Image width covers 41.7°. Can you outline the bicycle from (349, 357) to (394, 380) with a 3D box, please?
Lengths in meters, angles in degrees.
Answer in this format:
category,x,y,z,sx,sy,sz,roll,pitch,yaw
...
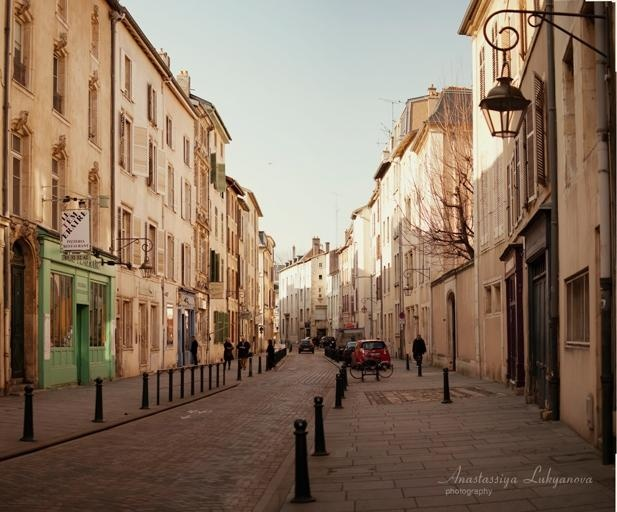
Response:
category,x,y,z,sx,sy,sz,roll,pitch,yaw
bicycle,2.504,4.746,32.304,1.823,1.361,1.027,1,1,1

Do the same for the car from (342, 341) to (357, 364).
category,x,y,z,sx,sy,sz,roll,pitch,yaw
car,2.308,5.467,45.379,0.852,0.970,1.696,0,-13,-2

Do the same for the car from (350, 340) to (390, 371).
category,x,y,z,sx,sy,sz,roll,pitch,yaw
car,2.828,4.528,36.814,0.975,1.050,1.912,0,-3,-2

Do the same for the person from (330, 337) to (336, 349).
category,x,y,z,sx,sy,sz,roll,pitch,yaw
person,2.626,9.640,88.930,0.775,0.920,1.935,-1,-15,1
